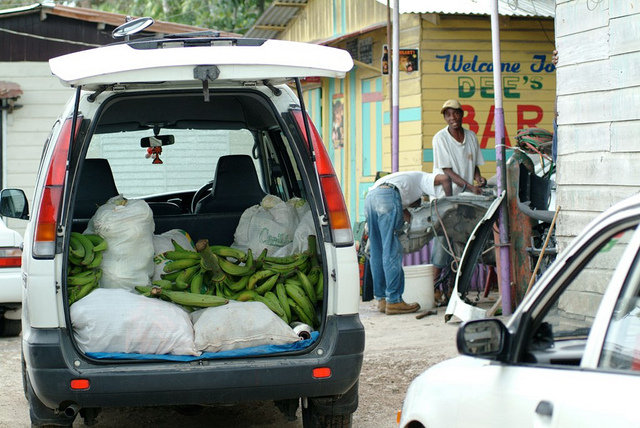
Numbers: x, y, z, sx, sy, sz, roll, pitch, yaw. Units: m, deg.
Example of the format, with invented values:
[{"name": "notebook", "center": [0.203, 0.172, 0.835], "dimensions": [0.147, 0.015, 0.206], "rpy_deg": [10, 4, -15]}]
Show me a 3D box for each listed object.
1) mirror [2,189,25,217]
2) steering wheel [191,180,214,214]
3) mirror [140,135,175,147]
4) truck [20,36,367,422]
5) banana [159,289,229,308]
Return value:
[{"name": "mirror", "center": [-2.687, -0.088, 6.430], "dimensions": [0.215, 0.235, 0.015], "rpy_deg": [-2, 3, -19]}, {"name": "steering wheel", "center": [-1.310, -0.217, 8.126], "dimensions": [0.227, 0.310, 0.580], "rpy_deg": [-1, 6, -10]}, {"name": "mirror", "center": [-1.596, -0.706, 7.127], "dimensions": [0.241, 0.111, 0.302], "rpy_deg": [3, 7, 23]}, {"name": "truck", "center": [-1.064, 0.217, 6.080], "dimensions": [2.256, 3.135, 2.817], "rpy_deg": [-1, 6, -12]}, {"name": "banana", "center": [-0.955, 0.650, 5.613], "dimensions": [0.530, 0.143, 0.136], "rpy_deg": [1, 6, 5]}]
